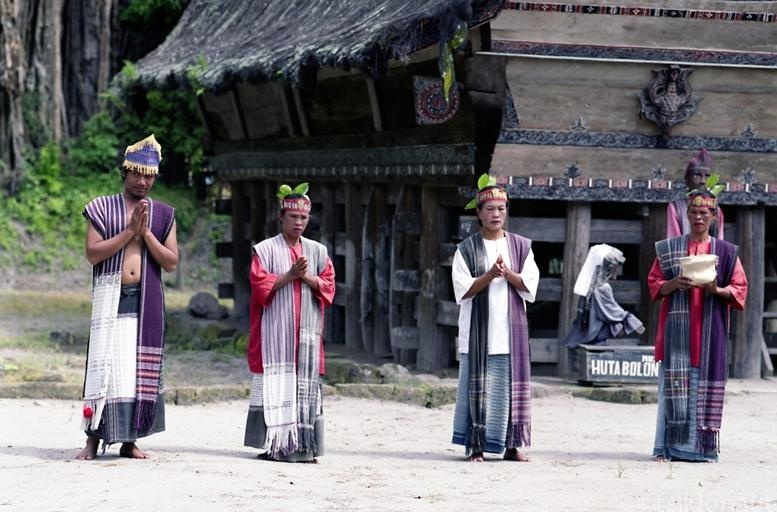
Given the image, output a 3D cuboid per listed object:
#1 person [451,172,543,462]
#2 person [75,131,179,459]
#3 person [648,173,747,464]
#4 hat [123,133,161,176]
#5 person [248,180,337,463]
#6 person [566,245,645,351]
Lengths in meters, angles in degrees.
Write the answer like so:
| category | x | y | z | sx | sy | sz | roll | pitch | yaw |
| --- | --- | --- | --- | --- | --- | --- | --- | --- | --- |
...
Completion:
| category | x | y | z | sx | sy | sz | roll | pitch | yaw |
| --- | --- | --- | --- | --- | --- | --- | --- | --- | --- |
| person | 1.248 | 0.720 | 23.632 | 0.987 | 3.351 | 0.432 | 3 | -6 | 1 |
| person | -3.006 | 0.479 | 23.354 | 1.072 | 3.769 | 0.451 | 4 | -6 | -8 |
| person | 3.606 | 0.778 | 23.622 | 1.088 | 3.255 | 0.398 | 2 | -6 | 7 |
| hat | -2.869 | -1.160 | 23.624 | 0.414 | 0.388 | 0.524 | 12 | -1 | -21 |
| person | -1.132 | 0.789 | 23.513 | 0.942 | 3.191 | 0.360 | 3 | -6 | -2 |
| person | 2.985 | 0.530 | 25.937 | 1.113 | 1.200 | 1.113 | -2 | 9 | -22 |
